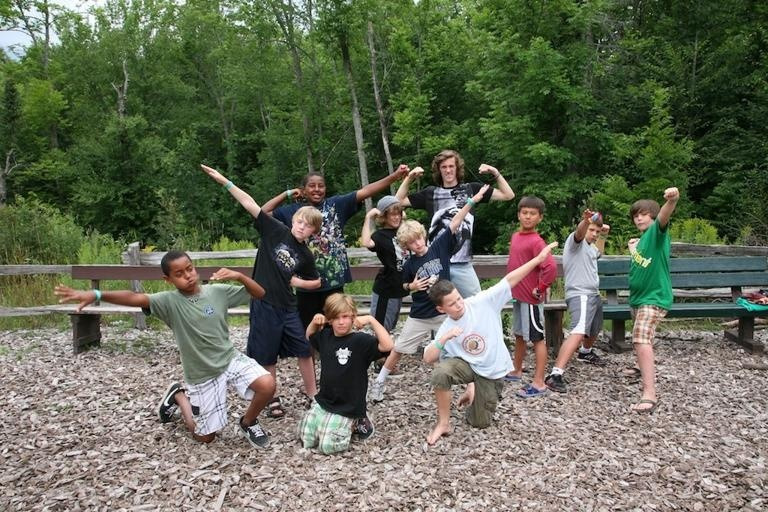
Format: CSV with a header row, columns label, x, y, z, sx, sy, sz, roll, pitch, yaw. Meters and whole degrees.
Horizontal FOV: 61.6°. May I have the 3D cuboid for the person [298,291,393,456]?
label,x,y,z,sx,sy,sz,roll,pitch,yaw
person,-0.578,1.590,8.862,1.298,2.075,0.714,-5,13,-10

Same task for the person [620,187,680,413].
label,x,y,z,sx,sy,sz,roll,pitch,yaw
person,3.938,0.546,9.566,0.625,3.179,1.415,2,14,21

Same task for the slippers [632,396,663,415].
label,x,y,z,sx,sy,sz,roll,pitch,yaw
slippers,3.833,2.158,9.321,0.473,0.169,0.193,-8,14,-26

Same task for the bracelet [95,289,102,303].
label,x,y,z,sx,sy,sz,roll,pitch,yaw
bracelet,-3.756,0.519,8.491,0.078,0.146,0.226,-9,14,-24

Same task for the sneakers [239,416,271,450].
label,x,y,z,sx,sy,sz,roll,pitch,yaw
sneakers,-1.769,2.416,8.918,0.562,0.243,0.230,29,25,28

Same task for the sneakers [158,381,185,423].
label,x,y,z,sx,sy,sz,roll,pitch,yaw
sneakers,-3.002,2.067,9.224,0.291,0.671,0.253,15,-2,21

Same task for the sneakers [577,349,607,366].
label,x,y,z,sx,sy,sz,roll,pitch,yaw
sneakers,3.348,1.654,10.484,0.555,0.266,0.193,10,6,-1

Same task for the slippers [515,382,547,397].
label,x,y,z,sx,sy,sz,roll,pitch,yaw
slippers,2.194,2.006,9.614,0.432,0.164,0.184,1,-3,-4

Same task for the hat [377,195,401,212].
label,x,y,z,sx,sy,sz,roll,pitch,yaw
hat,0.053,-0.815,9.946,0.309,0.159,0.234,-28,-6,33

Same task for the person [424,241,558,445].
label,x,y,z,sx,sy,sz,roll,pitch,yaw
person,1.214,1.349,9.041,1.551,2.286,0.562,-7,14,-16

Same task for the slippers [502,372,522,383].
label,x,y,z,sx,sy,sz,roll,pitch,yaw
slippers,1.982,1.877,9.949,0.309,0.129,0.142,2,2,9
